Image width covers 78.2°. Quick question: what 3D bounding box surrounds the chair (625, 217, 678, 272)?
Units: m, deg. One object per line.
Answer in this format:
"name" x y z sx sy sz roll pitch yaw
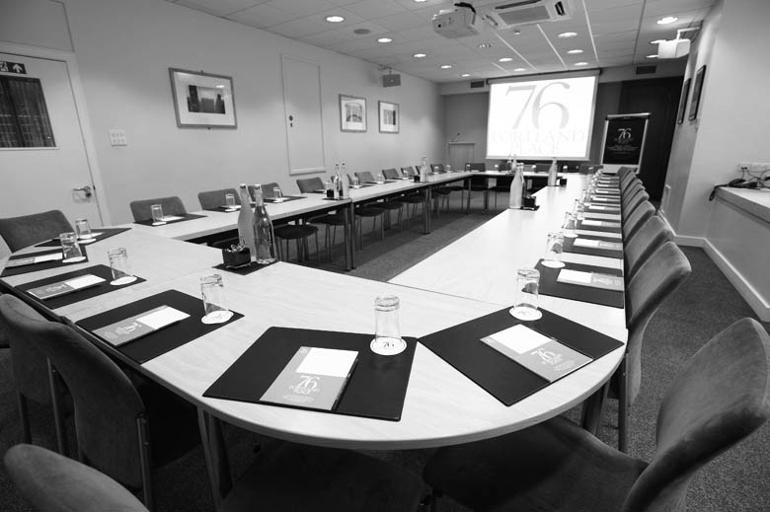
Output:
"chair" 1.617 -0.067 2.889 0.204 0.348 0.196 19 46 18

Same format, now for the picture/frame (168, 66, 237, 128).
"picture/frame" -2.281 -1.973 5.820 0.032 0.707 0.840 9 16 37

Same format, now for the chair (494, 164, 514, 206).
"chair" 2.195 -1.384 8.846 0.431 0.728 0.471 1 -10 4

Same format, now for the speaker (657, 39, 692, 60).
"speaker" 4.002 -2.886 6.521 0.327 0.244 0.582 8 21 35

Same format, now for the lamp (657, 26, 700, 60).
"lamp" 4.026 -2.898 6.468 0.457 0.396 0.273 5 10 38

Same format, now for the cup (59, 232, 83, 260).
"cup" -1.982 -0.057 3.037 0.166 0.190 0.163 -1 12 0

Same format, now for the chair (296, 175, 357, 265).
"chair" -0.722 -0.435 5.785 0.732 0.997 0.616 15 21 29

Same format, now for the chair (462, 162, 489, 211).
"chair" 1.696 -1.450 9.017 0.469 0.743 0.393 -5 -3 -27

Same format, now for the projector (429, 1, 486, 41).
"projector" 0.799 -2.500 4.973 0.436 0.313 0.423 7 35 27

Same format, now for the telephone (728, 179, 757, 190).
"telephone" 3.984 -0.797 5.240 0.152 0.079 0.215 2 6 28

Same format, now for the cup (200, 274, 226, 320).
"cup" -0.874 0.191 2.441 0.133 0.206 0.133 -4 12 1

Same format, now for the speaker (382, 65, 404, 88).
"speaker" 0.111 -3.339 8.839 0.456 0.303 0.462 19 30 18
